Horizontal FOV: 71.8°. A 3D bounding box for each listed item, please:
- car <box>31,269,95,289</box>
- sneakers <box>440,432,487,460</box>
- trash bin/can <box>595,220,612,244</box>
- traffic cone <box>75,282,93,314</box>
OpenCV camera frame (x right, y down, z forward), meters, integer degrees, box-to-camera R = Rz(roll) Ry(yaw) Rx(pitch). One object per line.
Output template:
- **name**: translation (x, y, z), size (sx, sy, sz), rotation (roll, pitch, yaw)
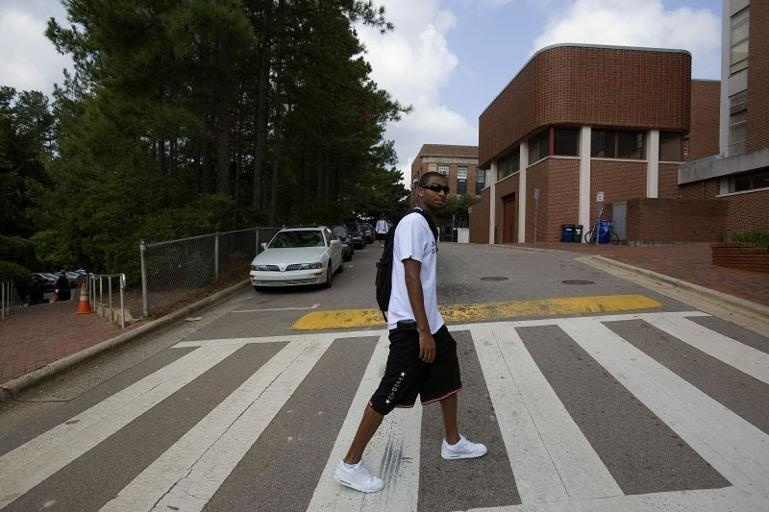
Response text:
- **car**: translation (-17.101, 1.183, 27.987), size (1.464, 0.672, 2.372), rotation (-1, -5, 7)
- **sneakers**: translation (0.907, 2.213, 6.208), size (0.533, 0.247, 0.222), rotation (-1, -2, -5)
- **trash bin/can**: translation (10.443, -1.163, 25.254), size (0.644, 1.057, 0.608), rotation (1, 5, 25)
- **traffic cone**: translation (-7.329, 0.987, 12.960), size (0.304, 0.644, 1.089), rotation (-3, 5, -30)
